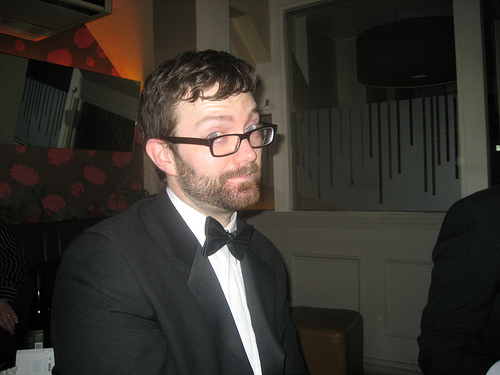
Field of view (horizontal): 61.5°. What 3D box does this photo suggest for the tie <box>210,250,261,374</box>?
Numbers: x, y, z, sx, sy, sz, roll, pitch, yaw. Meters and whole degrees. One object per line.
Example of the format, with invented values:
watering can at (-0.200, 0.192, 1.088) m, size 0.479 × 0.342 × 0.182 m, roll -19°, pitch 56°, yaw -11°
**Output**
tie at (-0.081, 0.430, 1.466) m, size 0.008 × 0.434 × 0.129 m, roll -31°, pitch -13°, yaw 40°
